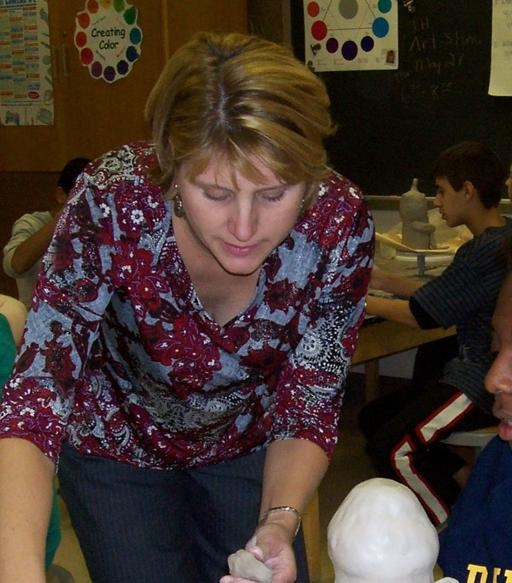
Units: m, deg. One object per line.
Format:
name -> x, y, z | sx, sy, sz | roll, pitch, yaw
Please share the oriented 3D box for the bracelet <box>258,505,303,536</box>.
bracelet -> 0.043, 0.337, 0.831 | 0.052, 0.049, 0.028 | 14, -14, 11
